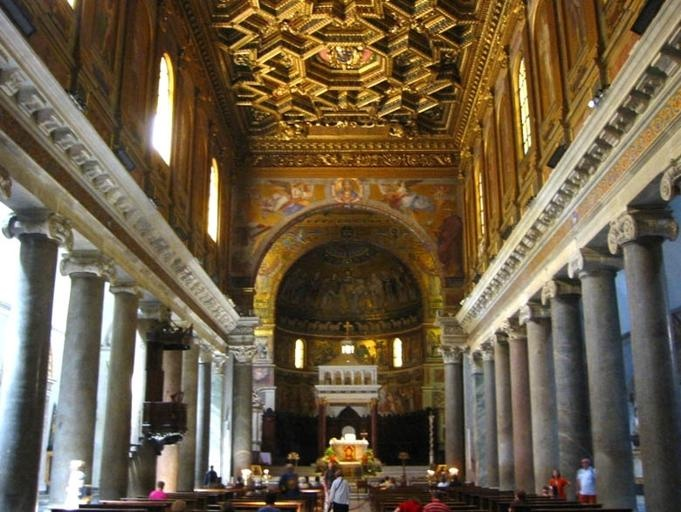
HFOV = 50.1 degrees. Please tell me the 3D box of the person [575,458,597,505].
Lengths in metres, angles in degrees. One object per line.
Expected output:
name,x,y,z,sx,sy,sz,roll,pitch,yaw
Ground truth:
person,5.537,5.009,16.274,0.418,0.918,0.595,-8,-24,15
